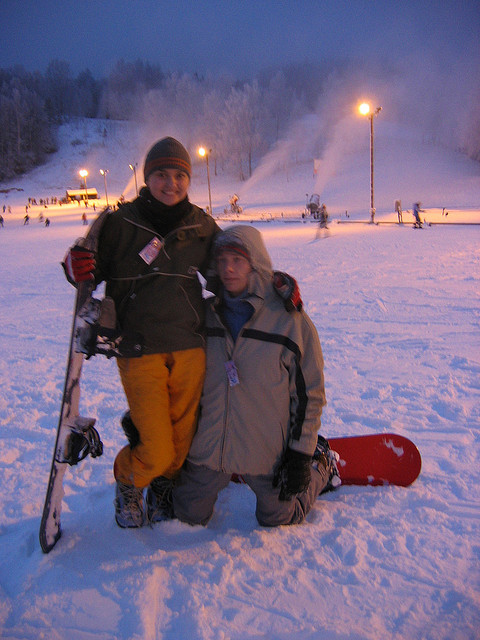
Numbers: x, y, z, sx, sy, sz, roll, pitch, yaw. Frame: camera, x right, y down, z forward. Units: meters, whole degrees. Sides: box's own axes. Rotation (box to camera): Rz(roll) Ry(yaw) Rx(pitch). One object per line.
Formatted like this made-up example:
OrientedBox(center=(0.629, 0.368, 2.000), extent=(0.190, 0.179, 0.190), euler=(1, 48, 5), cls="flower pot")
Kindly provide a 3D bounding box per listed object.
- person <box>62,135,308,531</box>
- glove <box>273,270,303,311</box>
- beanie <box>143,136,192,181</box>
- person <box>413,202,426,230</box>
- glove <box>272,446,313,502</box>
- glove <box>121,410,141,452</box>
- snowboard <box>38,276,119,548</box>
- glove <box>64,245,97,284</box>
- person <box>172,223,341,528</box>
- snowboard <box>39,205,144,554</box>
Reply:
OrientedBox(center=(-0.379, 0.135, 2.250), extent=(0.883, 1.958, 0.607), euler=(0, 7, -31), cls="person")
OrientedBox(center=(0.235, -0.162, 2.369), extent=(0.062, 0.210, 0.143), euler=(-17, -19, 9), cls="glove")
OrientedBox(center=(-0.346, -0.745, 2.329), extent=(0.172, 0.238, 0.214), euler=(0, 10, -17), cls="beanie")
OrientedBox(center=(6.526, -3.869, 17.544), extent=(0.296, 0.881, 2.199), euler=(3, 15, 20), cls="person")
OrientedBox(center=(0.250, 0.752, 2.318), extent=(0.094, 0.284, 0.171), euler=(19, -22, -34), cls="glove")
OrientedBox(center=(-0.534, 0.541, 2.336), extent=(0.065, 0.298, 0.106), euler=(-3, 9, -1), cls="glove")
OrientedBox(center=(-0.740, 0.412, 2.215), extent=(0.162, 1.457, 0.314), euler=(-1, -6, 30), cls="snowboard")
OrientedBox(center=(-0.700, -0.247, 2.099), extent=(0.047, 0.138, 0.154), euler=(3, 20, 14), cls="glove")
OrientedBox(center=(0.070, 0.350, 2.500), extent=(0.869, 1.779, 0.612), euler=(-3, 17, -9), cls="person")
OrientedBox(center=(-0.710, 0.298, 2.256), extent=(0.216, 2.016, 0.390), euler=(5, -1, 6), cls="snowboard")
